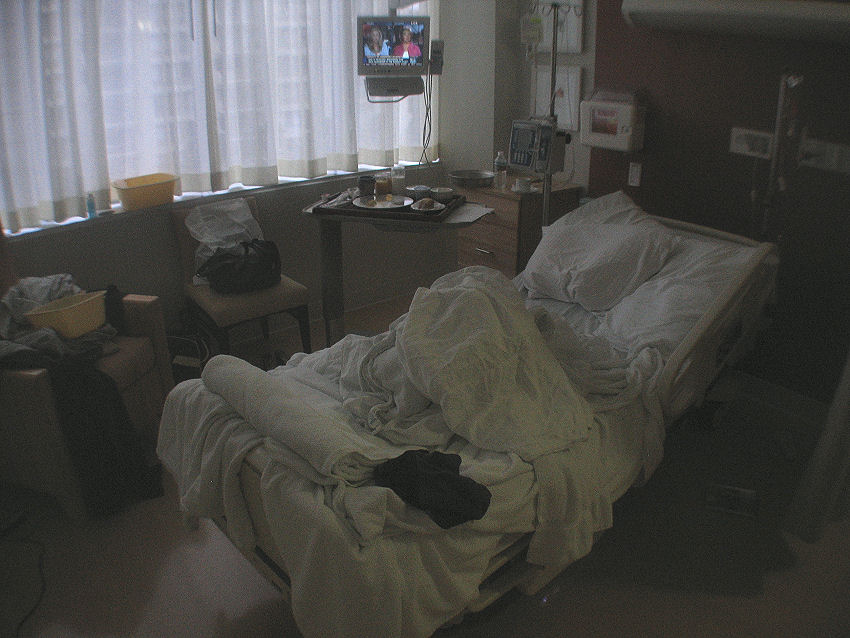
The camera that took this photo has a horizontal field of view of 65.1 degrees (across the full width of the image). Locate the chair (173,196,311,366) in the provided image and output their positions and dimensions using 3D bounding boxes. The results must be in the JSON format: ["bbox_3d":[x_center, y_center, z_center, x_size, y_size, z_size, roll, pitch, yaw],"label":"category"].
[{"bbox_3d":[-0.973,-0.117,3.601,0.521,0.951,0.612,-13,30,-28],"label":"chair"}]

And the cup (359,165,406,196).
[{"bbox_3d":[-0.203,-0.658,3.142,0.212,0.160,0.123,7,16,19],"label":"cup"}]

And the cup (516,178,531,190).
[{"bbox_3d":[0.563,-0.777,3.811,0.068,0.051,0.052,24,36,36],"label":"cup"}]

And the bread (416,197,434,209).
[{"bbox_3d":[0.001,-0.511,2.931,0.052,0.018,0.052,-8,32,-6],"label":"bread"}]

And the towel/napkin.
[{"bbox_3d":[-0.419,0.291,2.178,0.306,0.187,0.720,-19,29,-39],"label":"towel/napkin"}]

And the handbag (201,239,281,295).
[{"bbox_3d":[-0.954,-0.281,3.442,0.345,0.143,0.259,-11,34,-20],"label":"handbag"}]
